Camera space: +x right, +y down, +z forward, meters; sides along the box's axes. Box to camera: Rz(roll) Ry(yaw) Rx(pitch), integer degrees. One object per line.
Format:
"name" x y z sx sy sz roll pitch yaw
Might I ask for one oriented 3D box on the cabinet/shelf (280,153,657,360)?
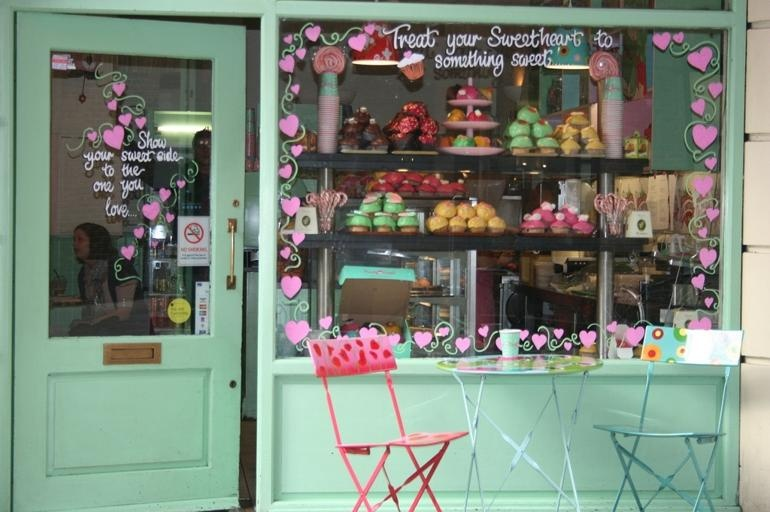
"cabinet/shelf" 0.347 -0.164 7.893 2.128 1.584 1.462 1 3 -8

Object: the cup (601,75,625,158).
"cup" 1.607 -0.972 6.930 0.132 0.612 0.146 -3 14 -2

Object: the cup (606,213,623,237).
"cup" 1.627 -0.214 7.002 0.120 0.164 0.132 0 0 -3

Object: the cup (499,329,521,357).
"cup" 0.810 0.566 6.420 0.145 0.186 0.158 0 1 0
